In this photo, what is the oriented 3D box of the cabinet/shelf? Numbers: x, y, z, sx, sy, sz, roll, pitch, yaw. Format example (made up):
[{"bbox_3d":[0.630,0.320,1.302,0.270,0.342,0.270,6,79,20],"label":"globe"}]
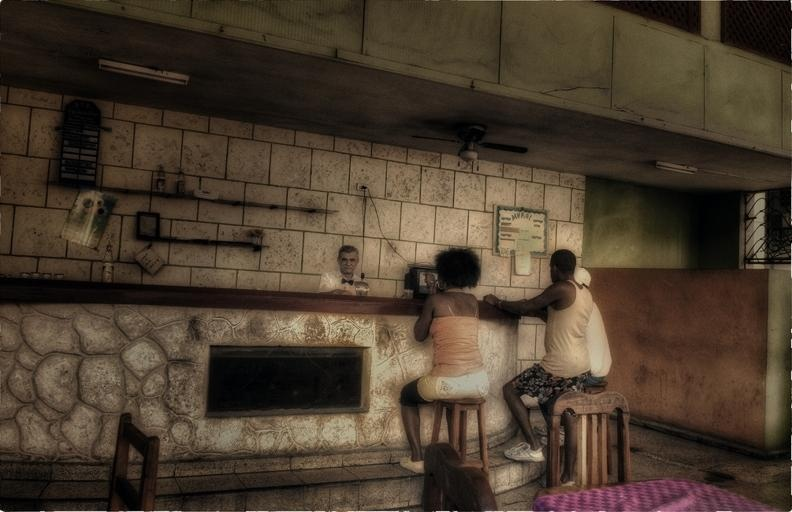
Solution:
[{"bbox_3d":[-2.504,-0.494,10.437,3.499,1.003,0.363,4,11,-14],"label":"cabinet/shelf"}]

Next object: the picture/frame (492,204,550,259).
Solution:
[{"bbox_3d":[1.775,-0.373,11.894,0.829,0.599,0.083,1,1,-17],"label":"picture/frame"}]

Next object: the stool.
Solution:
[{"bbox_3d":[0.670,1.941,8.843,0.709,0.849,0.770,1,-3,23],"label":"stool"}]

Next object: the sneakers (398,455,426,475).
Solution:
[{"bbox_3d":[0.168,2.255,8.931,0.386,0.156,0.180,9,1,43],"label":"sneakers"}]

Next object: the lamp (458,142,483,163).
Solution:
[{"bbox_3d":[0.925,-1.320,10.344,0.268,0.344,0.269,3,5,13],"label":"lamp"}]

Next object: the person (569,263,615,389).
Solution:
[{"bbox_3d":[2.326,0.866,9.710,0.565,1.437,0.448,4,21,19],"label":"person"}]

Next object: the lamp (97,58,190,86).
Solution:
[{"bbox_3d":[-2.855,-2.072,9.233,1.083,0.161,0.070,5,32,-22],"label":"lamp"}]

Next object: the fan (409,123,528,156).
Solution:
[{"bbox_3d":[0.903,-1.501,10.604,0.746,0.199,0.749,3,-4,-32],"label":"fan"}]

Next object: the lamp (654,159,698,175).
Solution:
[{"bbox_3d":[3.892,-1.256,11.461,0.787,0.096,0.370,3,0,-30],"label":"lamp"}]

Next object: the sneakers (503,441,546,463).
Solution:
[{"bbox_3d":[1.458,2.210,9.282,0.445,0.202,0.206,3,-7,3],"label":"sneakers"}]

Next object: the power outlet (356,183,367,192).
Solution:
[{"bbox_3d":[-0.458,-0.932,11.096,0.142,0.104,0.062,3,0,-5],"label":"power outlet"}]
